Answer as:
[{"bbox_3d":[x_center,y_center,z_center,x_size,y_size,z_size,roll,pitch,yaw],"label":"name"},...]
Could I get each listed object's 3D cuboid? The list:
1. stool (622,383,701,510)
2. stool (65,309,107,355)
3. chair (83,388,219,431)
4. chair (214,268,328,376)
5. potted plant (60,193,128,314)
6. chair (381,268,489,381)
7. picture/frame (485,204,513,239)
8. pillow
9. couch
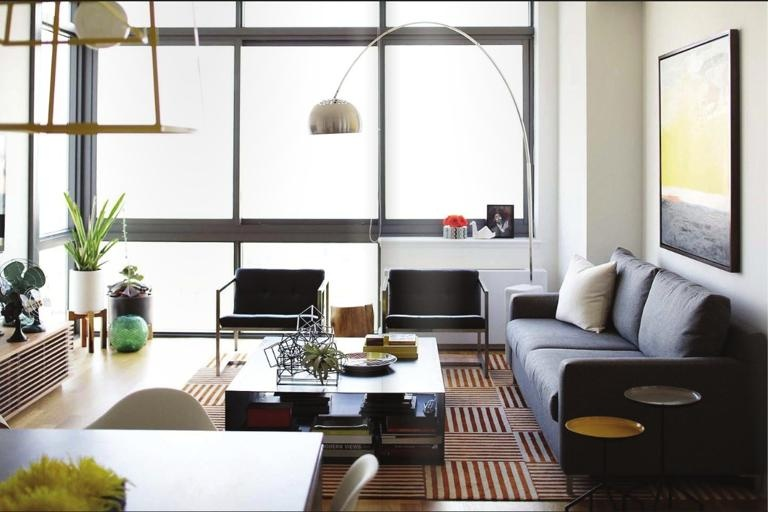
[{"bbox_3d":[1.593,1.097,3.491,0.377,0.701,0.488,5,12,28],"label":"stool"},{"bbox_3d":[-3.096,0.790,6.417,0.428,0.589,0.427,1,0,-14],"label":"stool"},{"bbox_3d":[-1.063,0.715,2.795,0.526,0.172,0.123,-1,10,-7],"label":"chair"},{"bbox_3d":[-1.058,0.623,6.000,0.941,0.959,1.017,0,-5,1],"label":"chair"},{"bbox_3d":[-3.093,-0.047,6.429,0.642,1.260,0.857,-5,11,-24],"label":"potted plant"},{"bbox_3d":[0.513,0.597,5.966,1.162,1.214,0.906,0,-3,2],"label":"chair"},{"bbox_3d":[1.265,-0.371,6.543,0.355,0.432,0.031,1,4,3],"label":"picture/frame"},{"bbox_3d":[1.682,0.336,4.971,0.292,0.550,0.510,17,-16,-18],"label":"pillow"},{"bbox_3d":[1.650,0.300,4.064,1.138,1.099,2.136,0,2,7],"label":"couch"}]
